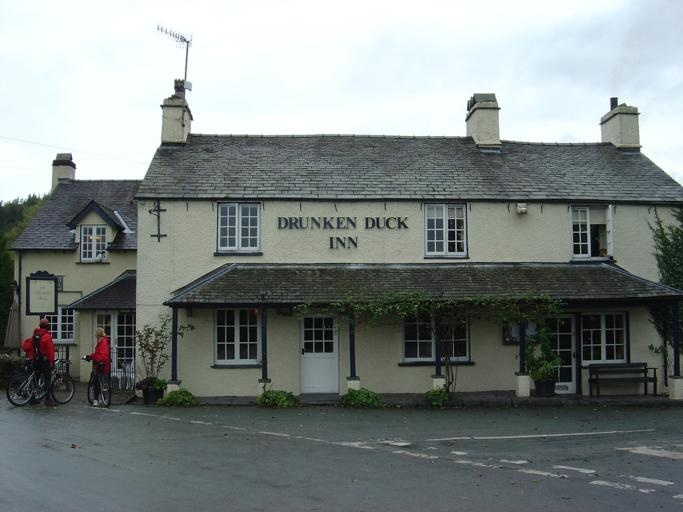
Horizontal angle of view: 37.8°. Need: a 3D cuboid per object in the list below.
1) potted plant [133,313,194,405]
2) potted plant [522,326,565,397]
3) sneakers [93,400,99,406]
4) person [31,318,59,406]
[{"bbox_3d":[-5.984,3.278,32.515,1.733,2.979,1.114,-2,-9,8],"label":"potted plant"},{"bbox_3d":[6.521,3.413,32.965,1.207,2.380,1.589,-3,-9,13],"label":"potted plant"},{"bbox_3d":[-7.673,4.582,31.161,0.135,0.155,0.167,9,-17,-40],"label":"sneakers"},{"bbox_3d":[-9.134,3.226,30.686,0.545,2.679,0.788,-6,-10,33],"label":"person"}]
